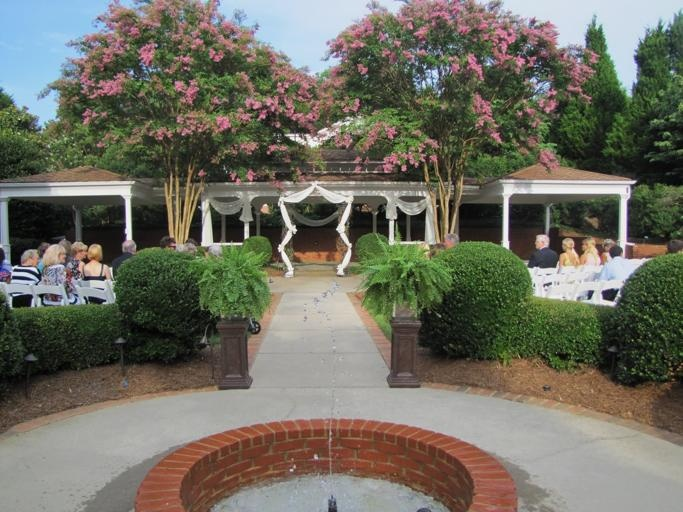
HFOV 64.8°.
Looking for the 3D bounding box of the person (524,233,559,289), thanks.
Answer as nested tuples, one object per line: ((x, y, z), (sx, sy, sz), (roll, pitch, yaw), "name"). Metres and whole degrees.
((4.074, -0.012, 10.912), (0.625, 0.829, 0.473), (-2, 5, -21), "person")

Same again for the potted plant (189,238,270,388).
((-1.432, 0.818, 7.268), (0.935, 1.856, 0.590), (-3, 11, -15), "potted plant")

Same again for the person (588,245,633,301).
((4.733, 0.300, 9.415), (0.516, 0.889, 1.278), (7, 12, 33), "person")
